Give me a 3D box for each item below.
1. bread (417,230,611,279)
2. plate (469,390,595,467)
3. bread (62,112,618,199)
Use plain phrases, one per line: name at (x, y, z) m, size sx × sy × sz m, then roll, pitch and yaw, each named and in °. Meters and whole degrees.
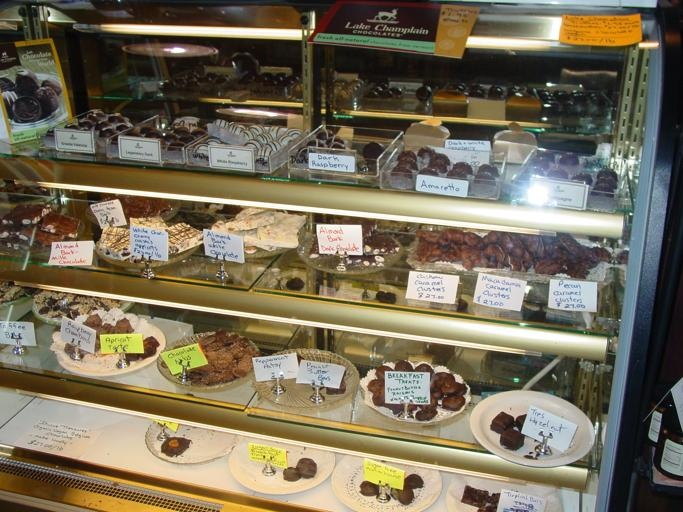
bread at (0.656, -0.027, 2.081) m, size 0.751 × 0.125 × 0.248 m, roll 7°, pitch 23°, yaw 20°
plate at (0.753, 0.615, 2.063) m, size 0.470 × 0.178 × 0.445 m, roll 5°, pitch 22°, yaw 14°
bread at (0.338, -0.388, 2.058) m, size 1.418 × 0.192 × 0.698 m, roll 4°, pitch 21°, yaw 13°
